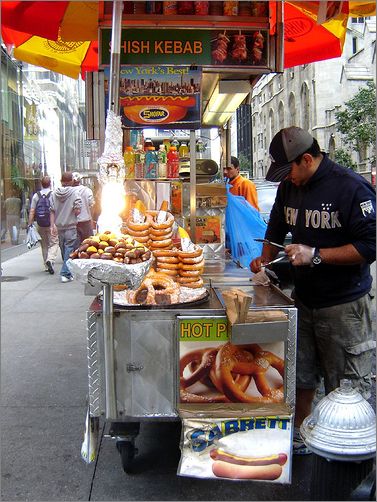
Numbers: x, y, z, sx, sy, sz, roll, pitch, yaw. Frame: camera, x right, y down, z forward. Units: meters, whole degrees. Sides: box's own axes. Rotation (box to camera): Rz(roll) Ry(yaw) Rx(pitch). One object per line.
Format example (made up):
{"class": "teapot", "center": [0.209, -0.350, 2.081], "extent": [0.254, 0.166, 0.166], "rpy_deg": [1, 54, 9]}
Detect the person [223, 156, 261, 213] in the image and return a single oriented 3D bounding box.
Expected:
{"class": "person", "center": [0.875, -1.061, 6.541], "extent": [0.521, 1.002, 0.513], "rpy_deg": [5, 8, 21]}

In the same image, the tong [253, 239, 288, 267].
{"class": "tong", "center": [0.574, -0.001, 2.663], "extent": [0.318, 0.184, 0.076], "rpy_deg": [1, -6, -26]}

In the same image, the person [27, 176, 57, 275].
{"class": "person", "center": [-3.641, -0.679, 10.066], "extent": [0.905, 2.724, 0.860], "rpy_deg": [-1, 13, -15]}

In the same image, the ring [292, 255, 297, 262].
{"class": "ring", "center": [0.570, 0.037, 2.164], "extent": [0.006, 0.030, 0.029], "rpy_deg": [-3, 5, -26]}

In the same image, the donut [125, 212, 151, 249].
{"class": "donut", "center": [-0.328, -0.138, 2.677], "extent": [0.179, 0.174, 0.186], "rpy_deg": [-3, 23, -11]}

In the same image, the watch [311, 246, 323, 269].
{"class": "watch", "center": [0.681, 0.038, 2.189], "extent": [0.064, 0.101, 0.092], "rpy_deg": [-1, 5, 9]}

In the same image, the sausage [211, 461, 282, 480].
{"class": "sausage", "center": [0.276, 1.070, 1.972], "extent": [0.324, 0.099, 0.069], "rpy_deg": [2, -8, -3]}

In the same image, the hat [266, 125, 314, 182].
{"class": "hat", "center": [0.531, -0.538, 2.307], "extent": [0.182, 0.333, 0.220], "rpy_deg": [36, 18, -21]}

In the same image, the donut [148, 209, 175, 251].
{"class": "donut", "center": [-0.187, -0.142, 2.758], "extent": [0.166, 0.265, 0.236], "rpy_deg": [-2, 4, -5]}

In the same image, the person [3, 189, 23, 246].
{"class": "person", "center": [-5.366, -1.020, 12.282], "extent": [0.529, 1.547, 0.517], "rpy_deg": [2, 12, -16]}

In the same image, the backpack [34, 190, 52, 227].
{"class": "backpack", "center": [-3.558, -1.014, 9.786], "extent": [0.360, 0.840, 0.634], "rpy_deg": [-3, 5, -20]}

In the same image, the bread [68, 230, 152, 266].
{"class": "bread", "center": [-0.330, -0.019, 1.829], "extent": [0.320, 0.128, 0.436], "rpy_deg": [0, 4, 11]}

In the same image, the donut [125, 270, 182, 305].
{"class": "donut", "center": [-0.204, 0.209, 2.335], "extent": [0.299, 0.143, 0.299], "rpy_deg": [-2, 4, -4]}
